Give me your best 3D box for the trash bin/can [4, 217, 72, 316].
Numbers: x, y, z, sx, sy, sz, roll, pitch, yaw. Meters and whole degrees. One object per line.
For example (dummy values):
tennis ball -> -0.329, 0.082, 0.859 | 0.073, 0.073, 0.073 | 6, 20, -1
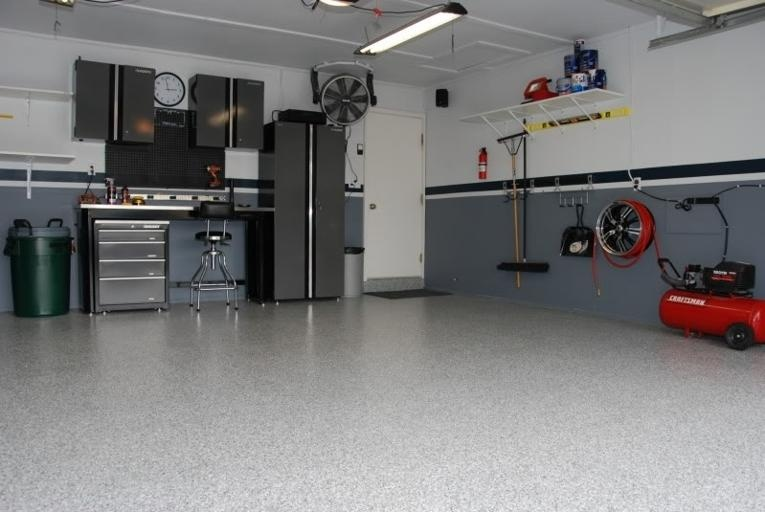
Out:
trash bin/can -> -4.092, 0.154, 6.598 | 0.670, 1.135, 0.320 | -4, 9, -30

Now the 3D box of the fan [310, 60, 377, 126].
fan -> -0.572, -2.350, 8.061 | 0.988, 0.930, 0.289 | -8, 14, -22

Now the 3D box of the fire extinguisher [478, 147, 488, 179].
fire extinguisher -> 1.514, -1.391, 8.244 | 0.138, 0.478, 0.176 | 2, 8, 9

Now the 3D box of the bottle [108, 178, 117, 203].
bottle -> -3.441, -0.830, 6.983 | 0.113, 0.304, 0.320 | -3, 9, -26

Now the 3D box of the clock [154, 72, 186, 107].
clock -> -2.937, -2.285, 7.572 | 0.465, 0.468, 0.035 | 5, 11, 0

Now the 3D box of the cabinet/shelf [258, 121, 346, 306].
cabinet/shelf -> -1.098, -0.642, 7.869 | 1.161, 2.478, 0.445 | -1, 8, -10

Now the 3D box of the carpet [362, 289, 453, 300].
carpet -> 0.429, 0.591, 8.696 | 1.265, 0.059, 0.914 | -2, 9, -16

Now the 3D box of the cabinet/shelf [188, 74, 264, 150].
cabinet/shelf -> -2.063, -2.018, 7.779 | 1.001, 0.947, 0.356 | 3, 5, 6

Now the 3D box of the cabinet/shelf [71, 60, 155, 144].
cabinet/shelf -> -3.526, -2.043, 7.250 | 1.011, 0.982, 0.512 | 1, 6, -28

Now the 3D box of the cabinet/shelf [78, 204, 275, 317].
cabinet/shelf -> -2.659, 0.027, 7.316 | 2.249, 1.389, 0.786 | -3, 5, -30
